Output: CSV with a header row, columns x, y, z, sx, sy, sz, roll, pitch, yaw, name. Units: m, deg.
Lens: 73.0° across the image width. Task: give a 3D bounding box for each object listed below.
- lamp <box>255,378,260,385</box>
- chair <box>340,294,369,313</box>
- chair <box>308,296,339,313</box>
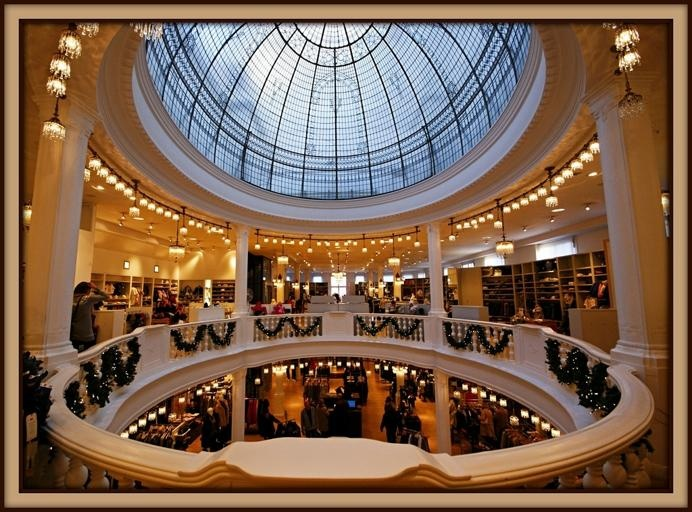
x,y,z,sx,sy,sz,roll,pitch,yaw,name
-2.951,4.249,15.646,0.153,0.313,0.161,-3,-7,11,lamp
0.217,1.443,13.690,0.531,0.440,0.591,1,-14,1,chair
-0.681,1.436,13.575,0.539,0.422,0.599,0,-6,5,chair
